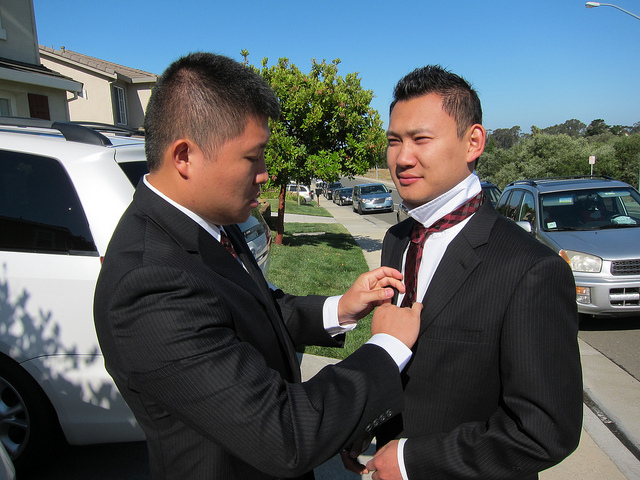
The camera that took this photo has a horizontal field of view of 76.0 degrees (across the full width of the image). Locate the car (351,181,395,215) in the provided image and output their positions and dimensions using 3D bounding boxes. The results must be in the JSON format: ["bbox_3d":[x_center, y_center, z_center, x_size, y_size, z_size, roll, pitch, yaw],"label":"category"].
[{"bbox_3d":[3.141,-2.623,25.067,1.422,1.188,2.474,-2,0,-5],"label":"car"}]

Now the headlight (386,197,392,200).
[{"bbox_3d":[4.105,-2.491,24.216,0.185,0.206,0.077,-5,12,-7],"label":"headlight"}]

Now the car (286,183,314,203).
[{"bbox_3d":[-1.448,-4.052,34.257,1.749,1.427,3.985,-1,12,-6],"label":"car"}]

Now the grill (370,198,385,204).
[{"bbox_3d":[3.414,-2.308,23.934,0.861,0.305,0.340,-3,12,-16],"label":"grill"}]

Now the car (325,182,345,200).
[{"bbox_3d":[1.368,-4.872,39.698,1.168,1.196,2.125,-2,2,-9],"label":"car"}]

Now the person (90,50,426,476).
[{"bbox_3d":[-0.300,0.089,1.552,1.132,1.586,0.716,6,13,28],"label":"person"}]

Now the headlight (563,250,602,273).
[{"bbox_3d":[3.629,0.280,5.602,0.310,0.132,0.257,-1,8,5],"label":"headlight"}]

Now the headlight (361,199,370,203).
[{"bbox_3d":[2.718,-2.322,23.991,0.215,0.111,0.321,2,1,20],"label":"headlight"}]

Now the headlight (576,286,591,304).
[{"bbox_3d":[3.592,0.723,5.580,0.174,0.230,0.113,3,12,14],"label":"headlight"}]
